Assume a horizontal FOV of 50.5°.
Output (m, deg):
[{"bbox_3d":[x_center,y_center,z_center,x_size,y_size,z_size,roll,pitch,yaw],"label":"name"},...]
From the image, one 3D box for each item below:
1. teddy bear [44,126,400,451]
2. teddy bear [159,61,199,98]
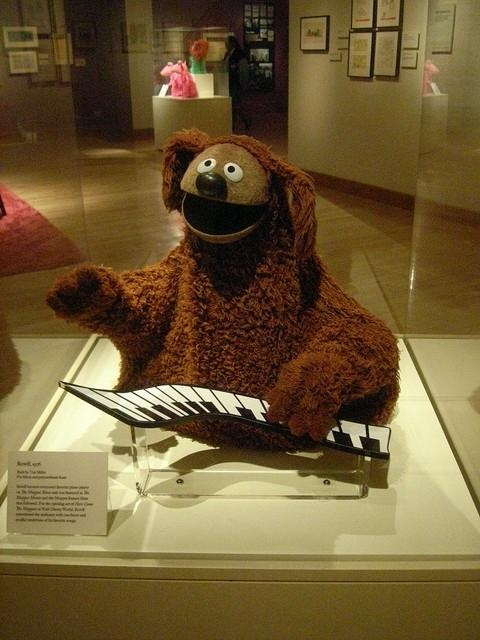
[{"bbox_3d":[-0.020,-0.054,1.024,0.724,0.620,0.381,8,11,29],"label":"teddy bear"},{"bbox_3d":[-0.107,-0.415,0.899,0.054,0.055,0.058,-18,52,-21],"label":"teddy bear"}]
